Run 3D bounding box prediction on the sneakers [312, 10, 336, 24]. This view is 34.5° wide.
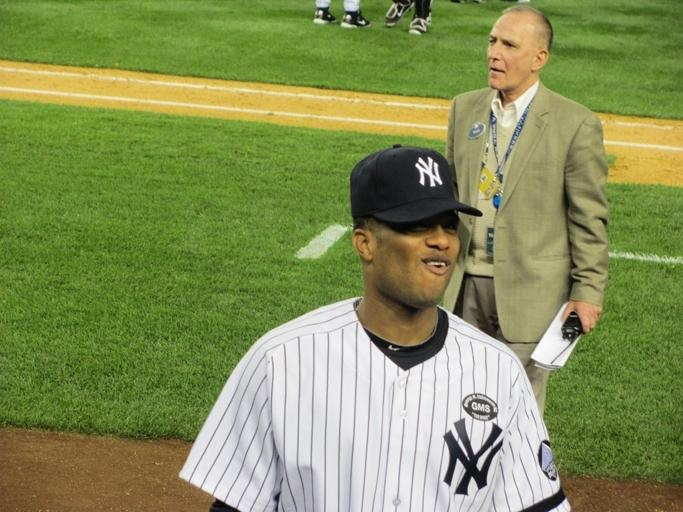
[{"bbox_3d":[-0.448,-5.829,26.745,0.267,0.303,0.663,5,14,17],"label":"sneakers"}]
